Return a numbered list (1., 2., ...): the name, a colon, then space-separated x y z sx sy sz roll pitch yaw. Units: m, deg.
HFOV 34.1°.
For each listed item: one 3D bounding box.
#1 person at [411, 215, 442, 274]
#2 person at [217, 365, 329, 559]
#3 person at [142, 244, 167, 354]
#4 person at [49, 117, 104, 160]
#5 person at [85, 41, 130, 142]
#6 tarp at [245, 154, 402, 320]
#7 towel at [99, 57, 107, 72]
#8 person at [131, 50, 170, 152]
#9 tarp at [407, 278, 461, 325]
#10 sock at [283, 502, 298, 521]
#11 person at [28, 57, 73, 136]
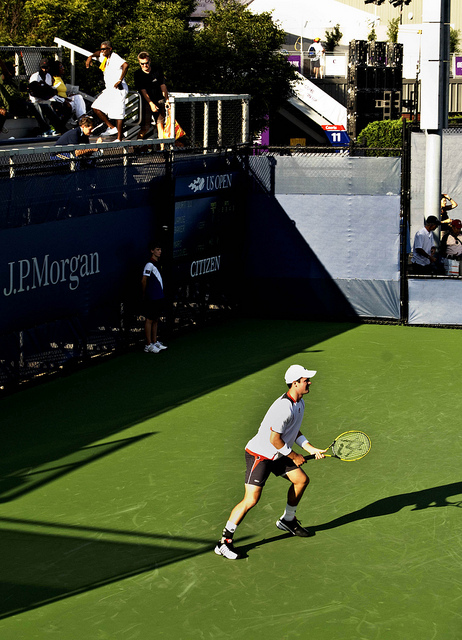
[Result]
1. person: 3.928 -1.497 15.284 0.508 1.125 0.461 1 10 13
2. person: 0.396 1.357 7.079 0.672 1.352 0.717 12 40 11
3. person: -1.328 -0.307 12.823 0.353 1.896 0.761 -2 10 -6
4. person: -2.632 -3.161 13.332 1.083 0.748 0.691 5 3 31
5. person: -2.528 -4.714 15.748 0.781 2.114 1.424 -4 10 -16
6. tarp: 1.960 -1.730 15.647 3.178 3.353 0.374 2 10 19
7. towel: -2.686 -5.283 15.848 0.079 0.241 0.444 -5 10 -20
8. person: -1.595 -4.460 15.229 0.645 1.639 0.767 -2 10 -7
9. tarp: 4.031 -0.351 14.944 1.011 0.879 0.149 2 10 19
10. sock: 0.474 1.546 6.129 0.088 0.194 0.215 -1 9 -1
11. person: -4.159 -5.024 17.198 0.785 1.766 0.964 -7 16 -34
